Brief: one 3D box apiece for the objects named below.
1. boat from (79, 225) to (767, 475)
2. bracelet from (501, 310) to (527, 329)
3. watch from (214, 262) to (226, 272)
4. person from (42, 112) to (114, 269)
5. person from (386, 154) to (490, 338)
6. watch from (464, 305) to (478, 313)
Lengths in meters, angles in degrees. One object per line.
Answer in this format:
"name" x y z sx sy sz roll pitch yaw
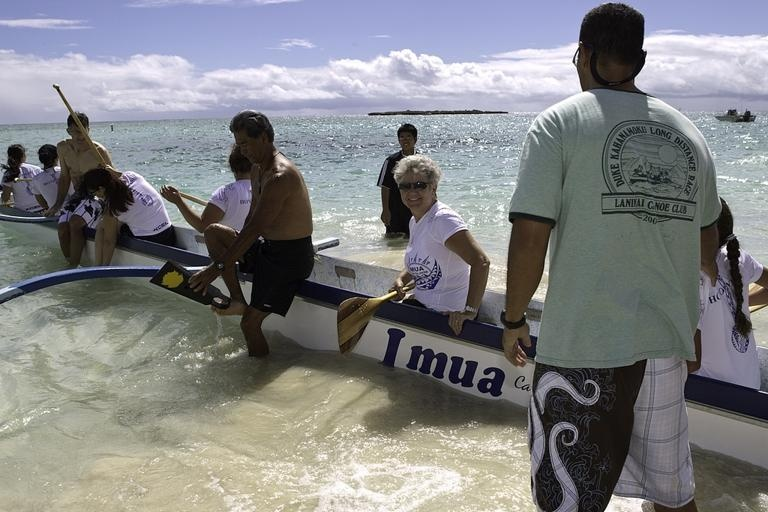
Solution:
"boat" 0.113 0.651 3.388 4.267 0.705 0.613 16 2 24
"bracelet" 0.568 0.269 2.327 0.097 0.031 0.089 1 4 -12
"watch" -1.258 0.086 4.033 0.070 0.063 0.022 14 7 7
"person" -4.018 -0.797 7.059 0.872 2.069 1.028 6 15 5
"person" 0.446 -0.094 3.832 0.837 1.235 0.303 12 19 41
"watch" 0.602 0.363 3.699 0.092 0.056 0.065 4 13 16
